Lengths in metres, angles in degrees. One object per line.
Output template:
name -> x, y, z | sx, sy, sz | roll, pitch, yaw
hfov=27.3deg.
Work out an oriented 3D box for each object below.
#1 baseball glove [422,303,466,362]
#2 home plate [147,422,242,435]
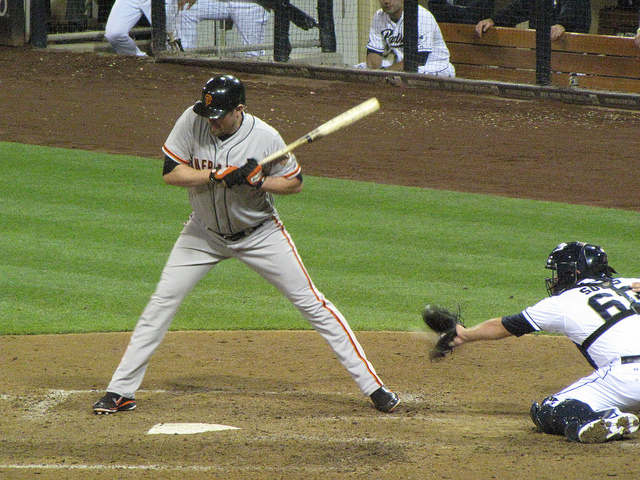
baseball glove -> 1.043, 0.758, 10.888 | 0.355, 0.417, 0.213 | 9, 17, 16
home plate -> -0.980, 1.482, 10.367 | 0.706, 0.057, 0.172 | 1, 9, -4
